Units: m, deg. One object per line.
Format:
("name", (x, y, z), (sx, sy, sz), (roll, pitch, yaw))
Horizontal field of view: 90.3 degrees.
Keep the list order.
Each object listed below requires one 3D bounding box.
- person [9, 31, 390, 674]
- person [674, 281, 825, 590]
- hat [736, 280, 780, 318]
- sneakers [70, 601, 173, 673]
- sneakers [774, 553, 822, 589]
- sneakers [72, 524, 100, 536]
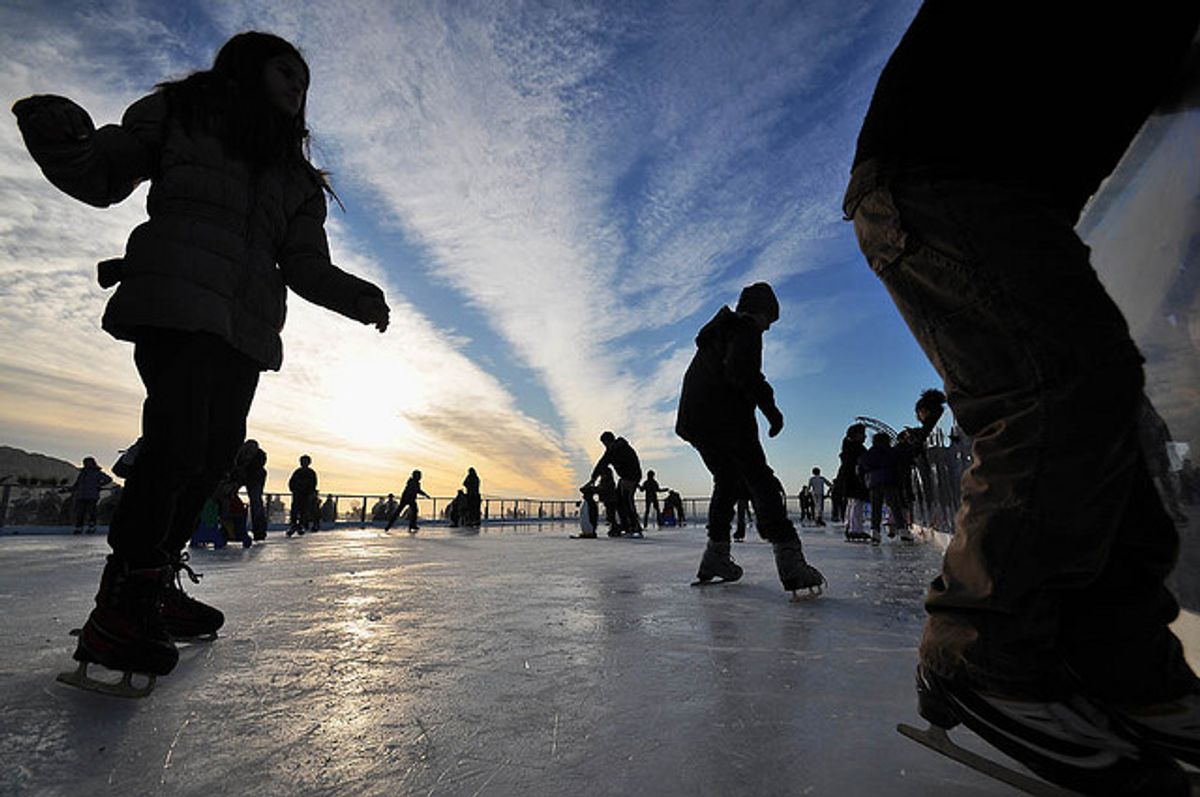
("person", (-1.533, -0.313, 2.256), (0.610, 2.564, 1.034), (-4, -11, 27))
("person", (0.912, 0.223, 3.865), (0.822, 1.991, 0.976), (0, -10, 7))
("hat", (1.007, -0.663, 3.872), (0.248, 0.241, 0.409), (-1, -11, 13))
("sneakers", (-1.602, 0.823, 2.016), (0.357, 0.232, 0.145), (0, -10, 8))
("sneakers", (1.212, 1.078, 3.695), (0.285, 0.254, 0.223), (2, -10, -4))
("sneakers", (-10.572, 2.730, 12.318), (0.308, 0.143, 0.392), (4, -17, -24))
